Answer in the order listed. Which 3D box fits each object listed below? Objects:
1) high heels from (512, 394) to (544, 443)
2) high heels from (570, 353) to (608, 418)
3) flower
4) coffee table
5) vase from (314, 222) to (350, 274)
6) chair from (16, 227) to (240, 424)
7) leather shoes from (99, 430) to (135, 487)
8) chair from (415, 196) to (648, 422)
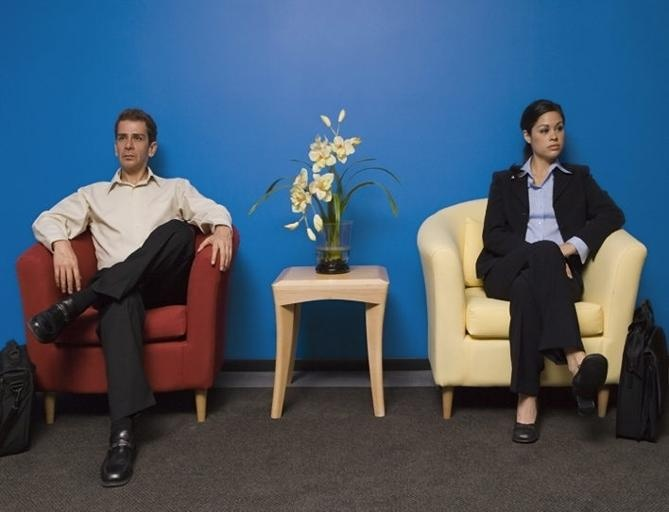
[{"bbox_3d":[0.870,0.759,2.559,0.072,0.105,0.233,-2,2,16],"label":"high heels"},{"bbox_3d":[1.070,0.540,2.366,0.147,0.266,0.079,-5,6,-20],"label":"high heels"},{"bbox_3d":[-0.046,-0.338,2.976,0.618,0.910,0.485,-4,6,-11],"label":"flower"},{"bbox_3d":[-0.017,0.425,2.992,0.775,0.704,0.788,4,5,43],"label":"coffee table"},{"bbox_3d":[-0.008,-0.038,2.941,0.226,0.278,0.247,-4,-6,26],"label":"vase"},{"bbox_3d":[-1.063,0.133,2.985,1.034,1.085,0.945,1,26,-17],"label":"chair"},{"bbox_3d":[-0.881,0.832,2.309,0.079,0.119,0.253,1,4,-8],"label":"leather shoes"},{"bbox_3d":[0.993,0.012,3.044,1.059,1.163,1.145,0,32,14],"label":"chair"}]
